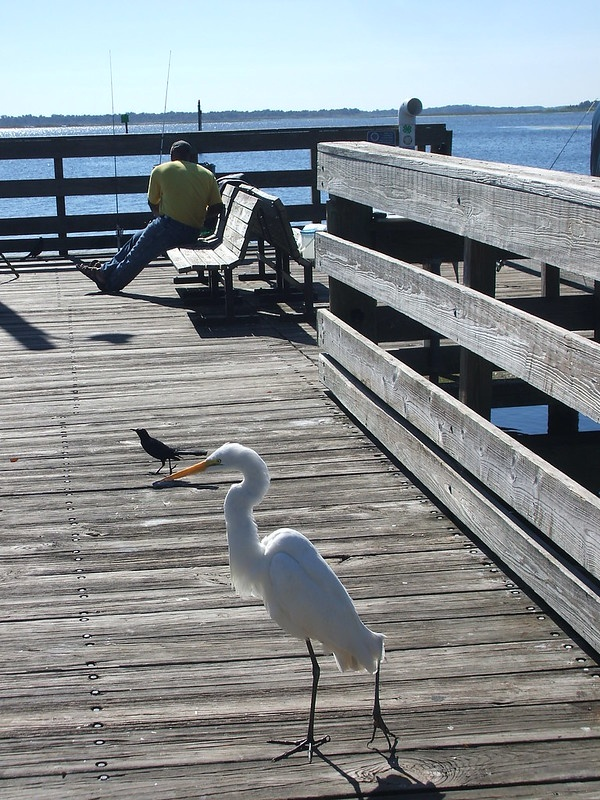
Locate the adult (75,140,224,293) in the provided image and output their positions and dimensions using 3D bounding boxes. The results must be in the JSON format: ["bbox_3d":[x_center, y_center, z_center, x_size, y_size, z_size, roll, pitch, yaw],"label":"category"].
[{"bbox_3d":[-1.095,-1.297,9.345,1.081,1.016,0.441,-8,-9,31],"label":"adult"}]

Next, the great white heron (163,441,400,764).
[{"bbox_3d":[-0.019,0.474,3.215,0.270,0.672,0.538,-9,19,-24],"label":"great white heron"}]

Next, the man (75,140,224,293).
[{"bbox_3d":[-1.092,-1.304,9.342,1.077,1.014,0.437,-7,-8,32],"label":"man"}]

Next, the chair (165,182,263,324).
[{"bbox_3d":[-0.595,-1.078,9.073,0.528,0.728,1.537,-10,14,-8],"label":"chair"}]

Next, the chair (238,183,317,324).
[{"bbox_3d":[-0.169,-0.989,9.123,0.481,0.601,1.449,0,23,-15],"label":"chair"}]
